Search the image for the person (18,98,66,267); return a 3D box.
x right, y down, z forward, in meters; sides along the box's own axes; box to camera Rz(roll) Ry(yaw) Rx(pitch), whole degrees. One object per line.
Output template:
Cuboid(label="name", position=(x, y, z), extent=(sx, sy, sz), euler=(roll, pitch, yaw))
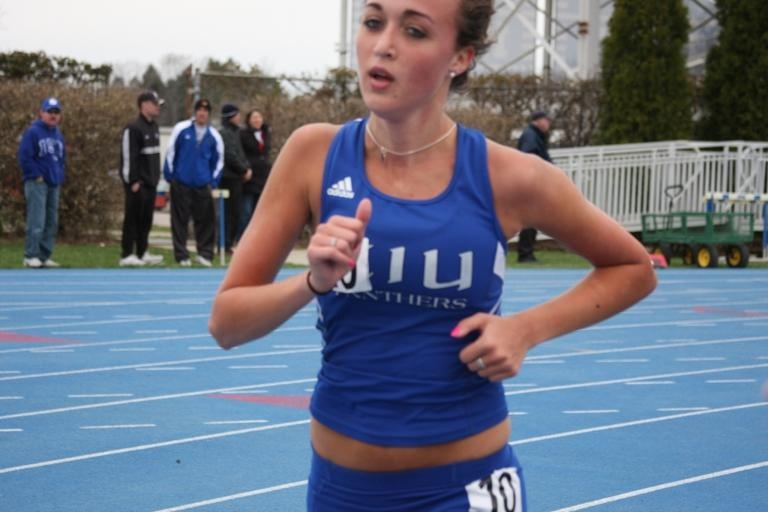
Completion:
Cuboid(label="person", position=(-4.770, -0.986, 11.731), extent=(0.536, 2.352, 0.780), euler=(1, 9, -5))

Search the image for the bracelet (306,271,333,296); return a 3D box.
Cuboid(label="bracelet", position=(-0.278, 0.113, 3.516), extent=(0.090, 0.116, 0.088), euler=(0, 9, -6))

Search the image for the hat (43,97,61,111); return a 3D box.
Cuboid(label="hat", position=(-4.593, -2.072, 11.645), extent=(0.204, 0.174, 0.292), euler=(-1, 10, -17))

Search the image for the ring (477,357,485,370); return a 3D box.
Cuboid(label="ring", position=(0.407, 0.448, 3.553), extent=(0.029, 0.038, 0.021), euler=(6, -19, -42))

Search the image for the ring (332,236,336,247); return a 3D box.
Cuboid(label="ring", position=(-0.201, -0.057, 3.414), extent=(0.025, 0.028, 0.027), euler=(7, 12, -2))

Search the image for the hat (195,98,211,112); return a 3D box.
Cuboid(label="hat", position=(-2.563, -2.097, 11.994), extent=(0.179, 0.247, 0.202), euler=(-3, 41, -9))

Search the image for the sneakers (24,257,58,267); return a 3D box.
Cuboid(label="sneakers", position=(-4.878, 0.100, 12.021), extent=(0.458, 0.201, 0.182), euler=(-2, -2, 26))

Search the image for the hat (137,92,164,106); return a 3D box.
Cuboid(label="hat", position=(-3.253, -2.196, 11.776), extent=(0.327, 0.168, 0.215), euler=(-2, 10, 2))

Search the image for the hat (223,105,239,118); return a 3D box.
Cuboid(label="hat", position=(-2.338, -2.201, 12.961), extent=(0.218, 0.191, 0.205), euler=(6, 23, -18))

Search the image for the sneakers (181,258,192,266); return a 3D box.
Cuboid(label="sneakers", position=(-2.919, 0.084, 12.455), extent=(0.112, 0.119, 0.065), euler=(4, 19, -21))

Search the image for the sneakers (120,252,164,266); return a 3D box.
Cuboid(label="sneakers", position=(-3.571, 0.052, 12.482), extent=(0.631, 0.277, 0.236), euler=(-2, 3, -6))
